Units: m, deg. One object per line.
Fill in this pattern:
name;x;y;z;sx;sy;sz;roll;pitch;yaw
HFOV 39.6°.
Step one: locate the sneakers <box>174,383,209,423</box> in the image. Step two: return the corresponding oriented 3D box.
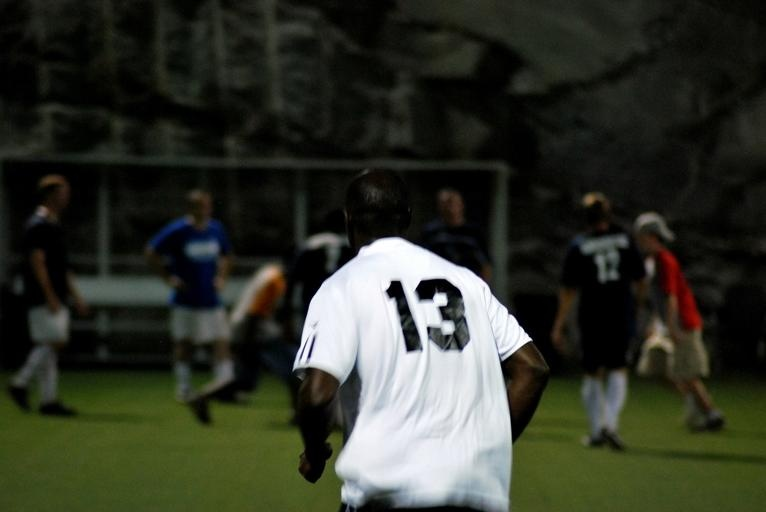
sneakers;-1.696;1.281;9.472;0.166;0.248;0.537;-3;17;-17
